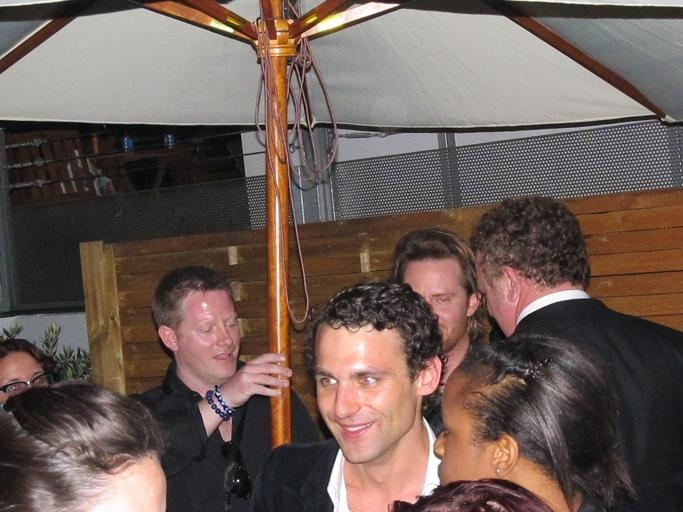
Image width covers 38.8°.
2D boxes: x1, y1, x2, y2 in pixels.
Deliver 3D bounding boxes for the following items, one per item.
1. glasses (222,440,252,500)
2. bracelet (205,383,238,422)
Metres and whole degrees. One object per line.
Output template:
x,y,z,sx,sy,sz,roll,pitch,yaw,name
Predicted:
-0.578,1.183,5.310,0.109,0.249,0.183,-20,-44,7,glasses
-0.662,0.784,5.251,0.073,0.175,0.137,-41,-22,22,bracelet
